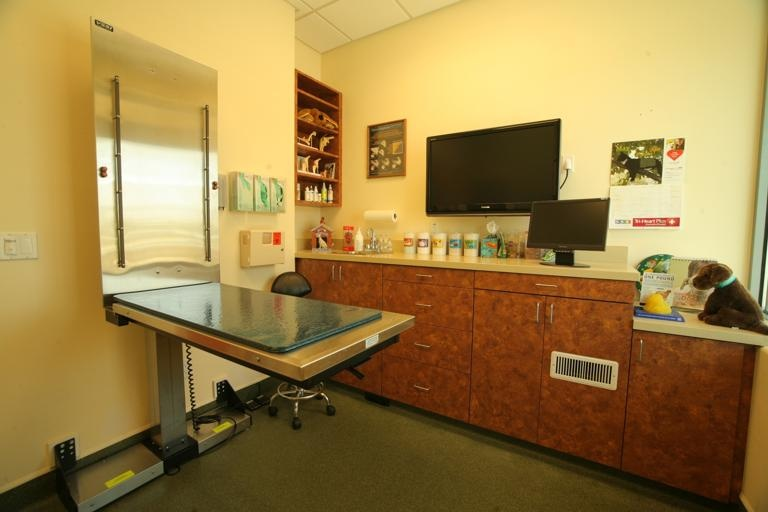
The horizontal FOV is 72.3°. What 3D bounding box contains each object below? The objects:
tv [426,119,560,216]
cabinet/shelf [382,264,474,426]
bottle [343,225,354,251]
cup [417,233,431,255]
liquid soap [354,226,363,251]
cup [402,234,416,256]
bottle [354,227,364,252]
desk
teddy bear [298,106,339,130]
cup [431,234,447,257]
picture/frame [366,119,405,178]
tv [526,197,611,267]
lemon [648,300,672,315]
[{"bbox_3d":[0.939,-0.724,4.321,0.933,0.577,0.075,1,3,28],"label":"tv"},{"bbox_3d":[0.562,0.632,4.443,1.132,1.164,1.055,3,5,11],"label":"cabinet/shelf"},{"bbox_3d":[-0.325,-0.171,4.889,0.087,0.222,0.290,0,6,-4],"label":"bottle"},{"bbox_3d":[0.351,-0.115,4.580,0.112,0.176,0.075,0,6,4],"label":"cup"},{"bbox_3d":[-0.238,-0.157,4.820,0.075,0.205,0.204,-1,6,-5],"label":"liquid soap"},{"bbox_3d":[0.228,-0.118,4.643,0.105,0.176,0.234,0,6,1],"label":"cup"},{"bbox_3d":[-0.238,-0.157,4.820,0.075,0.205,0.204,-1,6,-5],"label":"bottle"},{"bbox_3d":[-0.911,0.880,3.446,1.847,1.132,0.902,9,11,33],"label":"desk"},{"bbox_3d":[-0.664,-1.309,4.968,0.216,0.208,0.522,4,7,34],"label":"teddy bear"},{"bbox_3d":[0.475,-0.107,4.504,0.124,0.180,0.127,0,6,0],"label":"cup"},{"bbox_3d":[0.032,-1.016,4.929,0.586,0.626,0.029,4,5,33],"label":"picture/frame"},{"bbox_3d":[1.392,-0.183,3.918,0.558,0.502,0.180,-1,-5,34],"label":"tv"},{"bbox_3d":[1.908,0.341,3.639,0.122,0.067,0.115,-14,20,-21],"label":"lemon"}]
